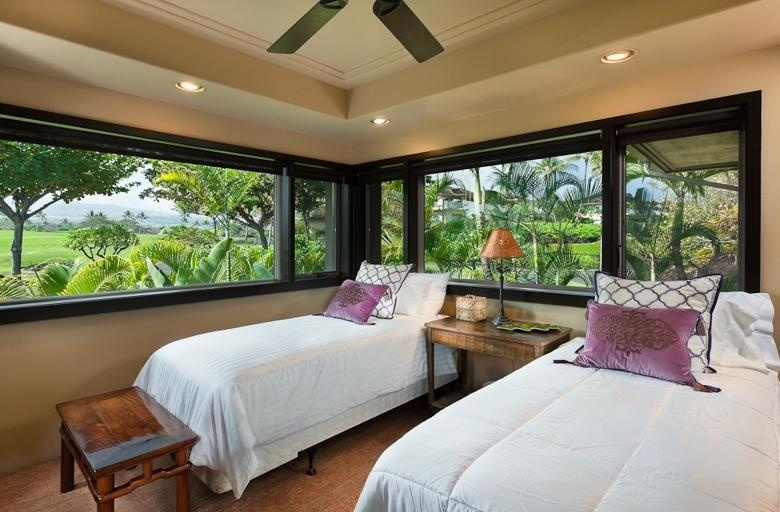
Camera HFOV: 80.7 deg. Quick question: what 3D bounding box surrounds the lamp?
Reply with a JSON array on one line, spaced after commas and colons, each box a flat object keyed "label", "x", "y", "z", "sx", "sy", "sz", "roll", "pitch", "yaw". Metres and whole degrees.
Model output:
[{"label": "lamp", "x": 1.067, "y": 0.171, "z": 4.361, "sx": 0.370, "sy": 0.863, "sz": 0.784, "roll": 2, "pitch": 3, "yaw": 15}]

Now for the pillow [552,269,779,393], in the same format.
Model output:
[{"label": "pillow", "x": 2.184, "y": 0.435, "z": 3.050, "sx": 0.804, "sy": 0.795, "sz": 0.243, "roll": 6, "pitch": -5, "yaw": 12}]

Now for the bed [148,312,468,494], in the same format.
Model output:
[{"label": "bed", "x": -0.658, "y": 1.013, "z": 3.711, "sx": 1.786, "sy": 0.511, "sz": 1.151, "roll": 1, "pitch": -4, "yaw": -42}]

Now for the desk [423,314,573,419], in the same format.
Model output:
[{"label": "desk", "x": 0.942, "y": 1.099, "z": 4.066, "sx": 0.675, "sy": 0.918, "sz": 1.129, "roll": 0, "pitch": 2, "yaw": -42}]
